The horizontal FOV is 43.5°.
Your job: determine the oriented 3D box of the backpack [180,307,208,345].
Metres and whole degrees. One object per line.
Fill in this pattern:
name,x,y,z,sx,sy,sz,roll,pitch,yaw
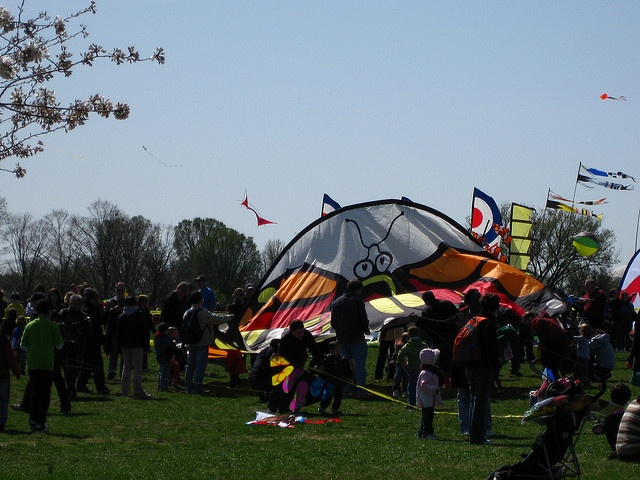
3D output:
backpack,-2.627,1.819,16.914,0.468,0.934,0.566,16,-22,-42

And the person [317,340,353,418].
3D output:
person,0.288,2.683,15.436,0.867,0.812,2.000,1,32,0

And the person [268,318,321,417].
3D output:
person,-0.473,2.500,15.347,1.092,1.903,0.828,9,-50,-6

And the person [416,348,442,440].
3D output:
person,1.791,2.520,13.165,0.370,1.447,0.665,2,-9,9

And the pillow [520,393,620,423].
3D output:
pillow,3.378,2.194,10.633,0.763,0.229,0.823,8,-20,-32

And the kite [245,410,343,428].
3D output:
kite,-0.519,3.214,14.196,1.473,0.218,0.898,2,-11,11

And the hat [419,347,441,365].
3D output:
hat,1.798,1.891,13.079,0.284,0.249,0.173,-14,-22,24

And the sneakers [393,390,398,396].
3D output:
sneakers,1.588,3.195,16.796,0.120,0.135,0.070,-1,4,2

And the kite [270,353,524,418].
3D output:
kite,1.314,2.725,14.871,3.648,0.443,0.592,14,18,10
